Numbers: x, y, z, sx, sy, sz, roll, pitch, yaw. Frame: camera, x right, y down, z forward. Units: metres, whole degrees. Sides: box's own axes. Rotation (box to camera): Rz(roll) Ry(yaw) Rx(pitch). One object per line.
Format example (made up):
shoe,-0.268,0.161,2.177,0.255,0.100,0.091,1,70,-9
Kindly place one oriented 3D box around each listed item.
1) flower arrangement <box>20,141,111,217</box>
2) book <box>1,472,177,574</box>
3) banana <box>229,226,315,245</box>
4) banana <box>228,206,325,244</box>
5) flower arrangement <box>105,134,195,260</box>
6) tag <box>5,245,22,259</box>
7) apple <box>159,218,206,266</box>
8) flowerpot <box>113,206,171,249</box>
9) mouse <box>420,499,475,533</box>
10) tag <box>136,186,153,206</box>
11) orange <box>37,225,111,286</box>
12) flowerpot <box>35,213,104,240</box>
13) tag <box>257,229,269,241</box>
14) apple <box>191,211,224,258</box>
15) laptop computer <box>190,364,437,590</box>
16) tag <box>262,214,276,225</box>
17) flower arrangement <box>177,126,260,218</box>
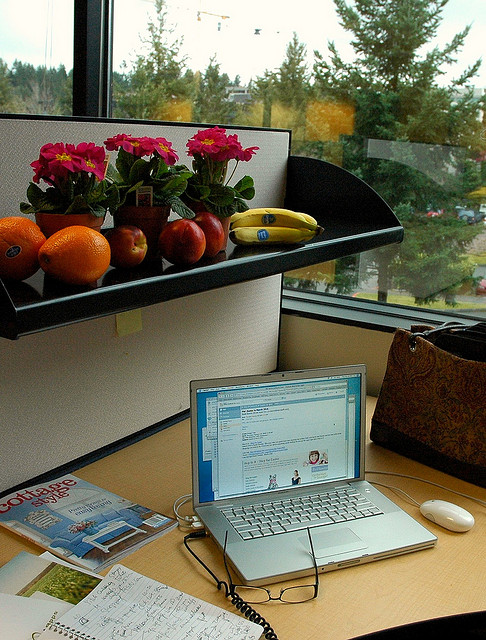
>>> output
flower arrangement,-0.230,-0.185,0.661,0.113,0.095,0.100,0,12,-21
book,-0.296,0.355,0.904,0.278,0.016,0.197,10,12,27
banana,0.051,-0.166,0.992,0.118,0.022,0.034,-3,10,-9
banana,0.069,-0.189,1.010,0.166,0.075,0.056,2,-26,-8
flower arrangement,-0.154,-0.188,0.789,0.170,0.176,0.139,2,14,-8
tag,-0.260,-0.076,0.568,0.002,0.015,0.015,46,47,13
apple,-0.094,-0.119,0.782,0.080,0.070,0.071,0,12,-4
flowerpot,-0.152,-0.146,0.782,0.074,0.052,0.072,12,18,40
mouse,0.389,0.369,0.956,0.076,0.025,0.049,19,19,41
tag,-0.150,-0.186,0.760,0.035,0.037,0.005,0,2,8
orange,-0.199,-0.076,0.601,0.060,0.069,0.073,12,14,33
flowerpot,-0.217,-0.118,0.660,0.048,0.029,0.051,-7,12,-42
tag,0.038,-0.165,0.980,0.023,0.020,0.005,-13,16,-37
apple,-0.061,-0.148,0.866,0.074,0.083,0.071,-4,26,-5
laptop computer,0.124,0.249,0.883,0.395,0.239,0.288,-2,6,-24
tag,0.050,-0.200,1.002,0.019,0.017,0.003,-22,36,-3
flower arrangement,-0.044,-0.270,0.916,0.145,0.125,0.140,15,12,21
